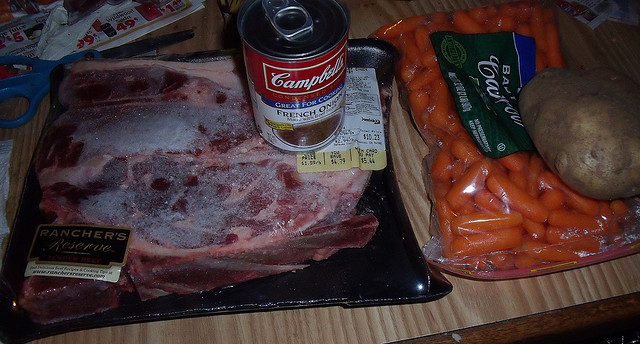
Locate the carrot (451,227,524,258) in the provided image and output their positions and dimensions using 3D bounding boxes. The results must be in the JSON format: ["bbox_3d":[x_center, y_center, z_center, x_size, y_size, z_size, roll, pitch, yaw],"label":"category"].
[{"bbox_3d":[0.412,0.173,1.242,0.188,0.029,0.054,-8,69,-3],"label":"carrot"}]

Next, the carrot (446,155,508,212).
[{"bbox_3d":[0.393,0.036,1.303,0.172,0.057,0.079,-43,65,5],"label":"carrot"}]

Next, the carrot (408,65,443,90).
[{"bbox_3d":[0.280,-0.249,1.343,0.088,0.044,0.028,-31,118,11],"label":"carrot"}]

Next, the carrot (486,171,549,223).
[{"bbox_3d":[0.487,0.062,1.248,0.165,0.036,0.060,33,73,12],"label":"carrot"}]

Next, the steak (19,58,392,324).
[{"bbox_3d":[-0.260,0.000,1.246,0.828,0.189,0.582,-2,76,-6],"label":"steak"}]

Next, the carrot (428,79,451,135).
[{"bbox_3d":[0.311,-0.167,1.320,0.077,0.044,0.129,-1,79,8],"label":"carrot"}]

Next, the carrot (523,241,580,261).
[{"bbox_3d":[0.560,0.198,1.242,0.135,0.043,0.035,9,103,-1],"label":"carrot"}]

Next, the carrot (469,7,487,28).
[{"bbox_3d":[0.438,-0.432,1.419,0.047,0.026,0.044,-36,88,4],"label":"carrot"}]

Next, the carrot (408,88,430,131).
[{"bbox_3d":[0.257,-0.166,1.317,0.037,0.091,0.088,-8,86,-19],"label":"carrot"}]

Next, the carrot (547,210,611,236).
[{"bbox_3d":[0.645,0.131,1.252,0.198,0.058,0.058,7,92,-3],"label":"carrot"}]

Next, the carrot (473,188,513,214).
[{"bbox_3d":[0.419,0.077,1.248,0.090,0.034,0.041,30,84,10],"label":"carrot"}]

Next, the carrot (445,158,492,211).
[{"bbox_3d":[0.373,0.028,1.305,0.169,0.056,0.060,-44,55,4],"label":"carrot"}]
